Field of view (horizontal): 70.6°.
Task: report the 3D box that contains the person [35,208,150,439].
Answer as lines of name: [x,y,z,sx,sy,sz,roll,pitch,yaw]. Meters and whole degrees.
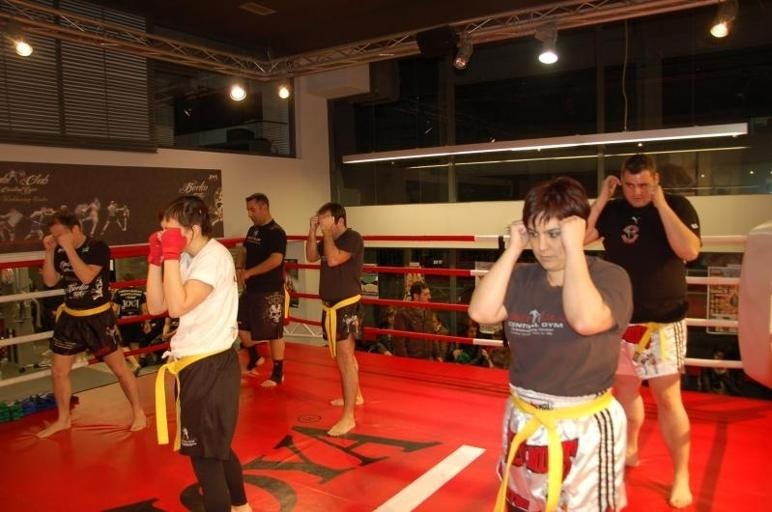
person: [-2.867,0.659,5.296,0.981,2.112,0.663,-2,-2,-7]

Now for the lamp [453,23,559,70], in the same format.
lamp: [1.642,-2.698,7.283,1.224,0.473,1.174,0,7,19]

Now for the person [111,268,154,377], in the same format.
person: [-3.909,1.041,8.107,0.539,1.557,0.612,3,-4,37]

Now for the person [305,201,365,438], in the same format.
person: [-0.491,0.554,5.380,0.636,2.087,0.760,-1,2,-5]

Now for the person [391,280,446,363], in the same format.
person: [0.445,0.991,7.482,0.712,1.211,0.346,-4,8,-35]
